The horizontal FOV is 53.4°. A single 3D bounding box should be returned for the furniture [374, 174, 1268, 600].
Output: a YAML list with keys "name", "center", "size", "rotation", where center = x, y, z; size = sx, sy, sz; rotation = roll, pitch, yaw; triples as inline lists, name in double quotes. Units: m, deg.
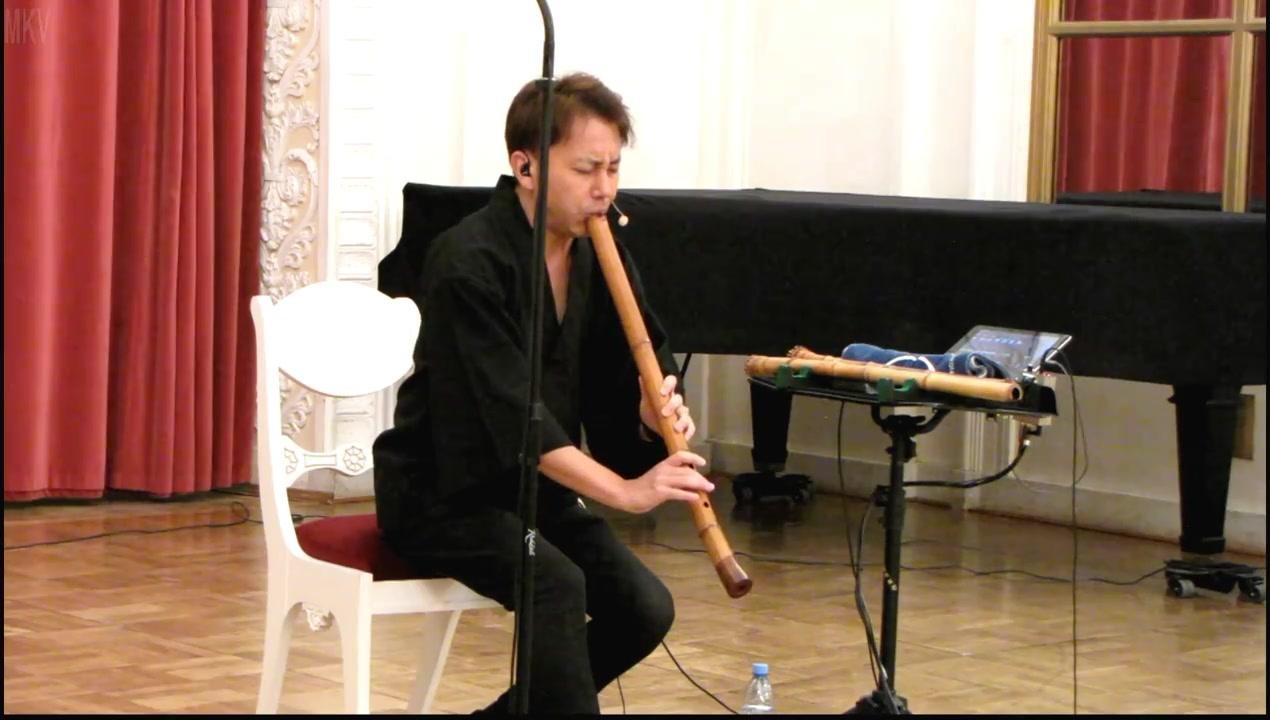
- name: "furniture"
  center: [1.234, 0.122, 5.946]
  size: [2.987, 1.277, 1.879]
  rotation: [2, 4, 20]

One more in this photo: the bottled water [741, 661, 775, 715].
- name: "bottled water"
  center: [0.445, 1.128, 4.528]
  size: [0.113, 0.177, 0.317]
  rotation: [1, 7, 6]

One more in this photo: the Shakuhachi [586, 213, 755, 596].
- name: "Shakuhachi"
  center: [0.138, 0.160, 4.874]
  size: [0.205, 1.744, 0.201]
  rotation: [-27, -21, 18]

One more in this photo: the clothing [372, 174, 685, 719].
- name: "clothing"
  center: [-0.344, 0.268, 3.957]
  size: [0.931, 1.666, 0.496]
  rotation: [-1, 7, -11]
